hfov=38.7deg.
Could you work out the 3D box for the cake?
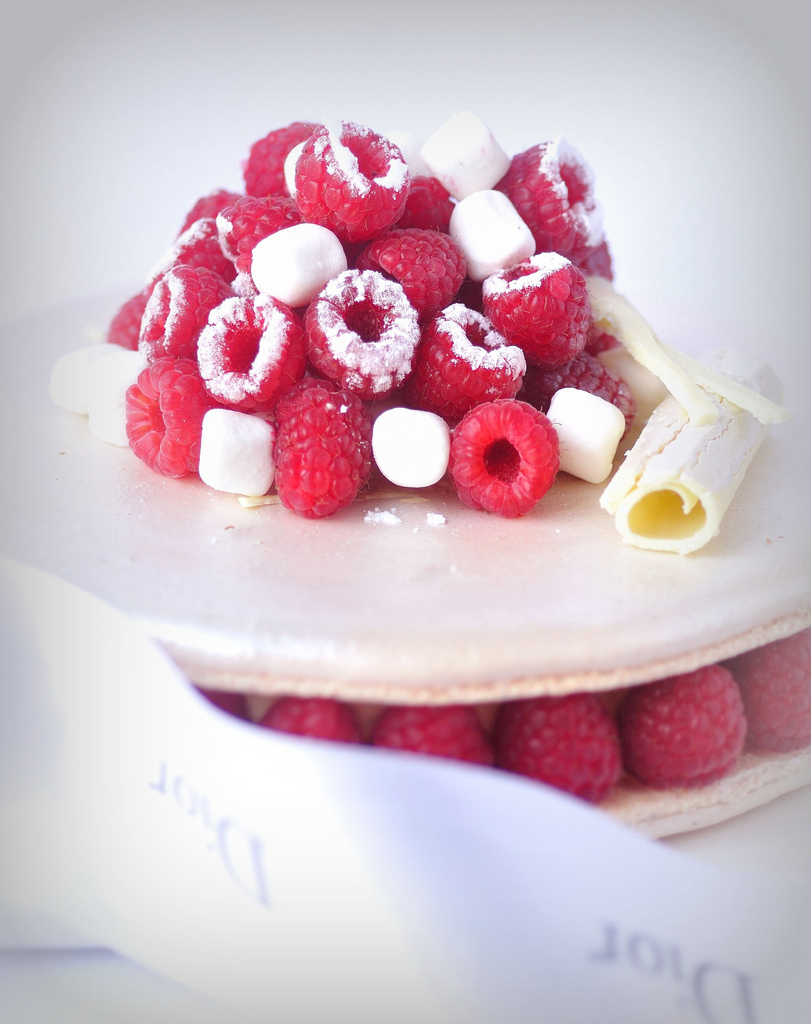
[{"bbox_3d":[0.081,0.005,1.305,0.898,0.412,0.724,3,39,6],"label":"cake"}]
